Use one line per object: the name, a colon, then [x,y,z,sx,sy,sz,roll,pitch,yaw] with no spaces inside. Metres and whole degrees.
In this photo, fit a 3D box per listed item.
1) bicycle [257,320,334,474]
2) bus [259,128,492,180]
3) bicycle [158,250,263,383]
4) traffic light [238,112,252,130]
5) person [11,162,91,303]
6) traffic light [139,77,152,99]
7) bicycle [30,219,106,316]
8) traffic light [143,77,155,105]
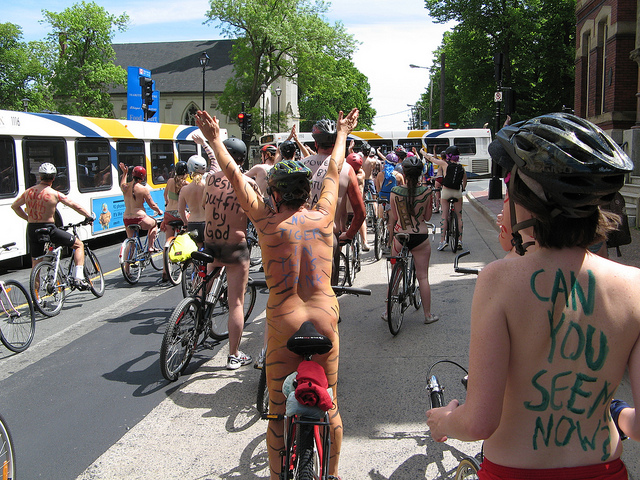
bicycle: [-0.116,1.074,3.480,0.441,1.049,0.628,-2,9,-4]
bus: [5.246,-5.117,37.206,13.359,3.954,3.182,6,-5,40]
bicycle: [-1.257,0.826,6.799,0.924,1.370,1.932,5,13,21]
traffic light: [-3.637,-5.709,27.045,0.550,1.063,0.809,0,14,-3]
person: [-4.277,-0.145,9.016,1.046,2.115,0.646,-7,10,-32]
traffic light: [-7.200,-6.268,23.279,0.409,0.890,0.686,-5,10,-19]
bicycle: [-4.219,0.446,9.447,0.737,1.393,2.202,-9,4,8]
traffic light: [-7.150,-6.182,23.449,0.458,1.143,1.063,-5,10,-19]
